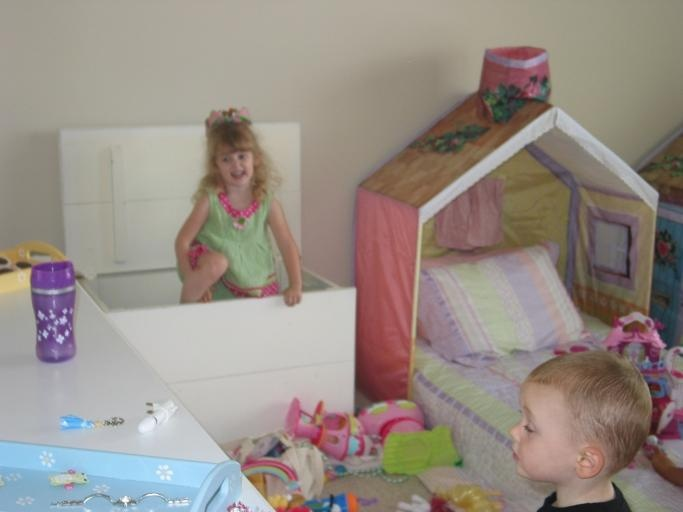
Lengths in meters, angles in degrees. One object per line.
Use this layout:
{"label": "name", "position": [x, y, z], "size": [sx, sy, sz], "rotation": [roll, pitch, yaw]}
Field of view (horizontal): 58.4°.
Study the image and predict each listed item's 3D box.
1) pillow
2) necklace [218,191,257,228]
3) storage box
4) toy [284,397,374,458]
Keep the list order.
{"label": "pillow", "position": [0.672, 0.151, 2.459], "size": [0.575, 0.443, 0.164], "rotation": [-8, -21, -20]}
{"label": "necklace", "position": [-0.375, -0.156, 2.212], "size": [0.116, 0.124, 0.044], "rotation": [1, -8, -21]}
{"label": "storage box", "position": [-0.518, 0.157, 2.349], "size": [1.080, 1.305, 0.880], "rotation": [-6, 4, -45]}
{"label": "toy", "position": [-0.070, 0.620, 2.207], "size": [0.362, 0.251, 0.167], "rotation": [-3, -4, -34]}
